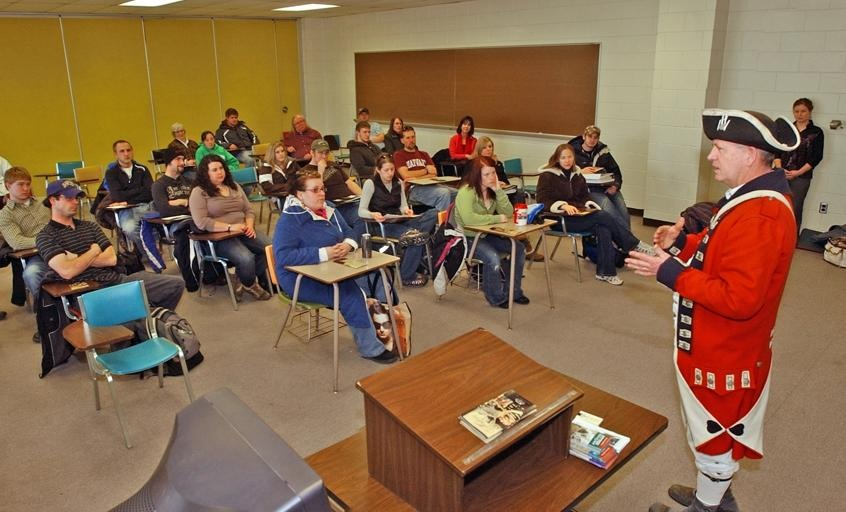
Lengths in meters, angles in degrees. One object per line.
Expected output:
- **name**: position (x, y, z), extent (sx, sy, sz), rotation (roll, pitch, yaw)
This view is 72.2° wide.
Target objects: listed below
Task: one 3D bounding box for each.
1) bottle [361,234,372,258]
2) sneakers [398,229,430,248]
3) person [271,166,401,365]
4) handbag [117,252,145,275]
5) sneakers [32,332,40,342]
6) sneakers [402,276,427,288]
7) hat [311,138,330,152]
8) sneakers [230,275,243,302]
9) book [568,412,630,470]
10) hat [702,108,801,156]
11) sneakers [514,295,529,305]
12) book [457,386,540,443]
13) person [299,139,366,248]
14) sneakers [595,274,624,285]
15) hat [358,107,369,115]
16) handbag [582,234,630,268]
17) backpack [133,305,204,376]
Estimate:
- **bottle**: position (-0.546, -0.112, 5.547), extent (0.095, 0.232, 0.152), rotation (-6, 22, -9)
- **sneakers**: position (-0.122, -0.223, 6.851), extent (0.365, 0.164, 0.168), rotation (-6, -1, -10)
- **person**: position (-0.869, 0.052, 5.807), extent (1.303, 1.787, 0.973), rotation (9, 18, 30)
- **handbag**: position (-3.039, 0.064, 5.984), extent (0.276, 0.112, 0.221), rotation (16, 23, 29)
- **sneakers**: position (-4.071, 0.838, 6.077), extent (0.098, 0.060, 0.157), rotation (-1, 10, -36)
- **sneakers**: position (-0.110, 0.311, 7.115), extent (0.234, 0.088, 0.130), rotation (-2, 13, 21)
- **hat**: position (-1.472, -1.552, 8.078), extent (0.172, 0.115, 0.231), rotation (-6, 11, -40)
- **sneakers**: position (-2.188, 0.363, 6.748), extent (0.116, 0.328, 0.143), rotation (0, -2, -10)
- **book**: position (1.098, 1.165, 3.671), extent (0.292, 0.066, 0.290), rotation (-24, 33, -39)
- **hat**: position (2.061, -0.809, 3.689), extent (0.548, 0.226, 0.584), rotation (-2, 18, -31)
- **sneakers**: position (1.115, 0.479, 6.591), extent (0.177, 0.067, 0.091), rotation (9, 19, 36)
- **book**: position (0.431, 0.908, 3.318), extent (0.430, 0.135, 0.183), rotation (-13, 23, -28)
- **person**: position (-1.110, -0.917, 8.321), extent (0.925, 1.306, 0.596), rotation (1, -9, -43)
- **sneakers**: position (2.302, 0.259, 7.143), extent (0.290, 0.127, 0.125), rotation (8, 16, 33)
- **hat**: position (-1.196, -2.872, 11.479), extent (0.252, 0.110, 0.341), rotation (0, 9, -6)
- **handbag**: position (2.380, -0.104, 7.585), extent (0.490, 0.468, 0.362), rotation (9, 26, 32)
- **backpack**: position (-2.348, 0.785, 5.274), extent (0.611, 0.563, 0.422), rotation (14, 29, 23)
